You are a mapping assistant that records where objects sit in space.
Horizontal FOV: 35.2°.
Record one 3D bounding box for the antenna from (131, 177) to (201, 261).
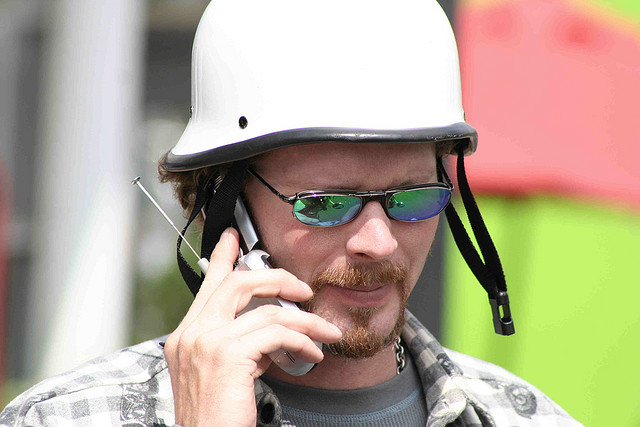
[{"bbox_3d":[-1.184,0.035,7.642,0.118,0.754,0.087,-36,2,21],"label":"antenna"}]
